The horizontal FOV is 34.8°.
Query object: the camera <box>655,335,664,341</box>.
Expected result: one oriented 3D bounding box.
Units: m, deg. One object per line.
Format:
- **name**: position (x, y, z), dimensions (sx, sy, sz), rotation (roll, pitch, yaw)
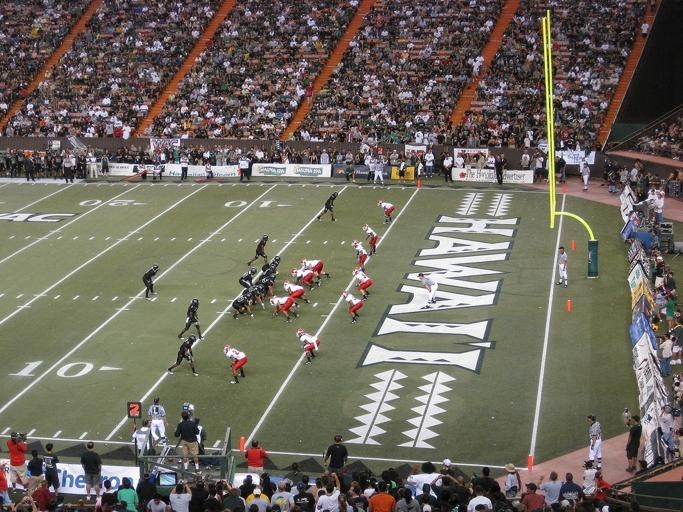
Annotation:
- **camera**: position (11.572, 2.997, 39.392), dimensions (0.252, 0.106, 0.371), rotation (-2, 3, 11)
